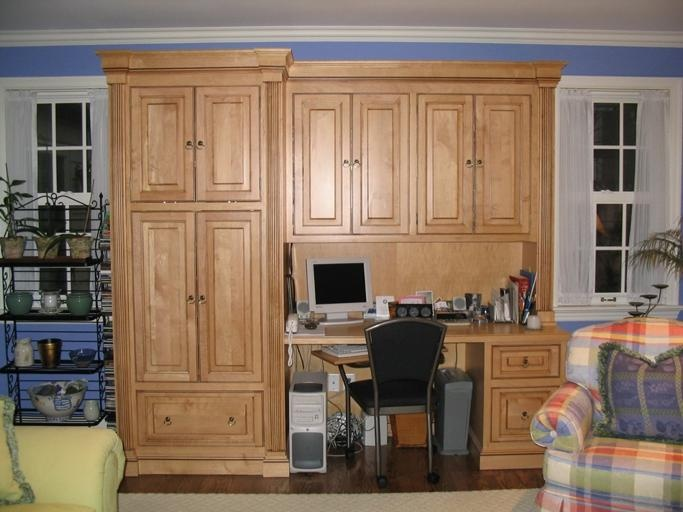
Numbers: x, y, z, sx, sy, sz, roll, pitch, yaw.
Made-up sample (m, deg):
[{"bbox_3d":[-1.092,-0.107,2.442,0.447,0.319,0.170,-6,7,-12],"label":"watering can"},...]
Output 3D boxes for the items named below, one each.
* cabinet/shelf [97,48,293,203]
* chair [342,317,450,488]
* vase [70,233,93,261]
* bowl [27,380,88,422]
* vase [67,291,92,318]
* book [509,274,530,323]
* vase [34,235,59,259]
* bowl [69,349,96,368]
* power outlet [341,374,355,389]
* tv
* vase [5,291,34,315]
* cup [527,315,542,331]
[{"bbox_3d":[-1.046,-0.945,5.321,1.383,1.452,0.465,0,-1,-2],"label":"cabinet/shelf"},{"bbox_3d":[0.389,1.019,5.241,0.718,1.183,0.368,-2,1,4],"label":"chair"},{"bbox_3d":[-1.975,-0.083,5.580,0.196,0.175,0.189,-2,-4,33],"label":"vase"},{"bbox_3d":[-2.120,1.107,5.498,0.382,0.218,0.353,1,3,0],"label":"bowl"},{"bbox_3d":[-1.980,0.363,5.570,0.204,0.156,0.198,2,2,1],"label":"vase"},{"bbox_3d":[1.403,0.336,5.778,0.157,0.354,0.399,1,1,8],"label":"book"},{"bbox_3d":[-2.251,-0.070,5.620,0.195,0.135,0.174,0,-5,-5],"label":"vase"},{"bbox_3d":[-1.979,0.772,5.598,0.169,0.094,0.154,1,-2,0],"label":"bowl"},{"bbox_3d":[0.075,0.998,5.850,0.150,0.116,0.032,1,-2,-17],"label":"power outlet"},{"bbox_3d":[-0.027,0.258,5.737,0.586,0.490,0.175,-1,-6,-9],"label":"tv"},{"bbox_3d":[-2.459,0.364,5.664,0.198,0.144,0.188,-1,-3,44],"label":"vase"},{"bbox_3d":[1.431,0.500,5.487,0.110,0.082,0.101,-2,4,0],"label":"cup"}]
